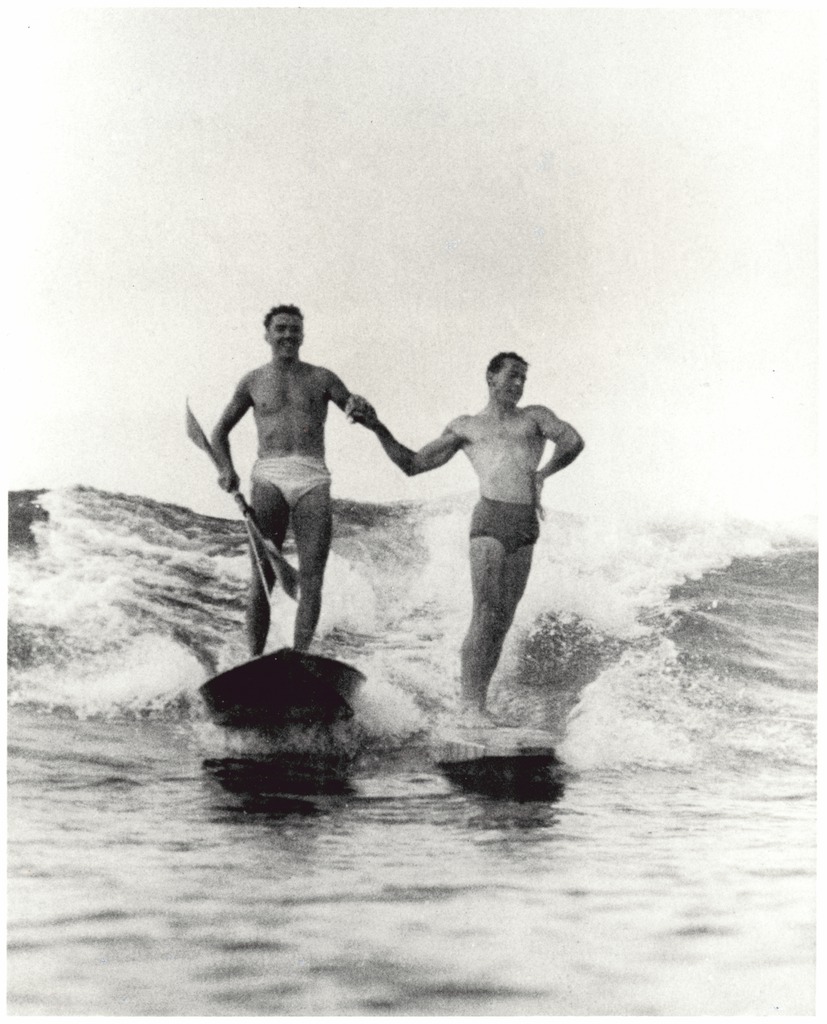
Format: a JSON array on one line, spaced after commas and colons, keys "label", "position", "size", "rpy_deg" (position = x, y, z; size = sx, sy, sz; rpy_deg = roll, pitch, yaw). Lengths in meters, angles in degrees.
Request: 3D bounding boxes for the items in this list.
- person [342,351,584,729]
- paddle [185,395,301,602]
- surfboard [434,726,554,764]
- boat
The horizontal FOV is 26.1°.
[{"label": "person", "position": [0.267, 0.294, 8.707], "size": [1.442, 2.447, 0.625], "rpy_deg": [2, -14, -12]}, {"label": "paddle", "position": [-0.742, -0.043, 8.258], "size": [0.118, 1.080, 0.106], "rpy_deg": [-32, 5, -32]}, {"label": "surfboard", "position": [0.375, 1.113, 8.305], "size": [0.585, 0.185, 0.338], "rpy_deg": [7, -1, 5]}, {"label": "boat", "position": [-0.604, 0.838, 8.350], "size": [0.742, 0.400, 0.351], "rpy_deg": [7, -1, -1]}]
